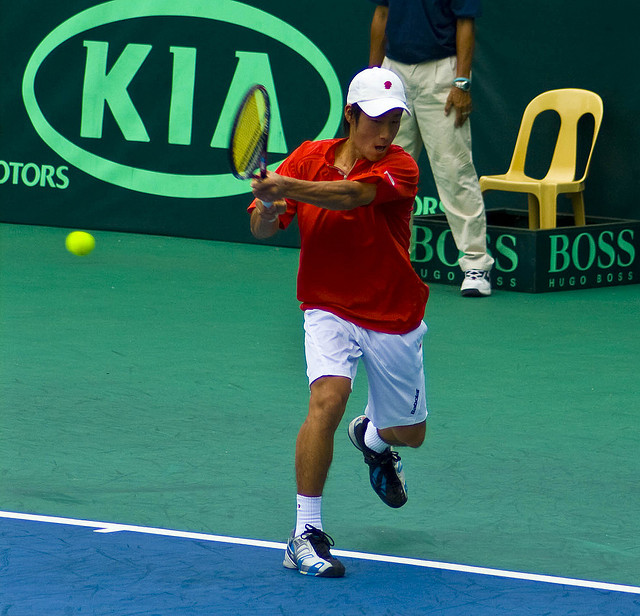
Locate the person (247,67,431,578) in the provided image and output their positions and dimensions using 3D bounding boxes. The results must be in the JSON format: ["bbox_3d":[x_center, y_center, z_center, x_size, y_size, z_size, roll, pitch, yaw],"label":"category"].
[{"bbox_3d":[0.044,0.001,2.268,0.548,1.389,0.798,3,10,7],"label":"person"}]

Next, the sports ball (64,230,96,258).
[{"bbox_3d":[-2.256,-0.600,7.326,0.270,0.215,0.420,-1,9,-16],"label":"sports ball"}]

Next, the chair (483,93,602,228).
[{"bbox_3d":[1.761,-1.103,6.396,1.046,1.134,0.927,-8,22,-5],"label":"chair"}]
